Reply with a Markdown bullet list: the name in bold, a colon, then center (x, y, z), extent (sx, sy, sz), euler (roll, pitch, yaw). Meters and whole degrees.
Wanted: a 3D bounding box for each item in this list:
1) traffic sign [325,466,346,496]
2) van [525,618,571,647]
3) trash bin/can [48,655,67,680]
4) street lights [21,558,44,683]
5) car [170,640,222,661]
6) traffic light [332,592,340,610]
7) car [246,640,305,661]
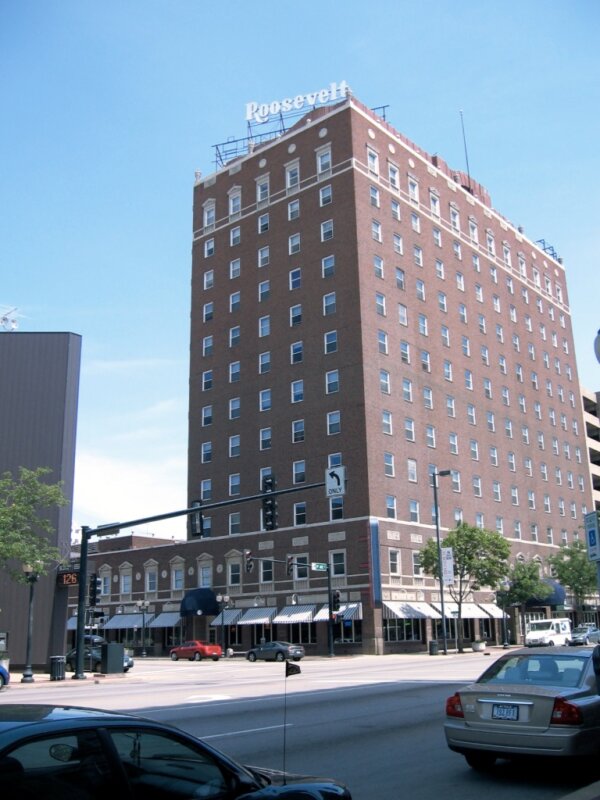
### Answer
- **traffic sign**: center (1.053, 2.521, 26.598), extent (0.602, 0.983, 0.930), euler (-2, -15, 0)
- **van**: center (15.960, 14.939, 54.345), extent (2.778, 1.511, 4.737), euler (-6, -15, 15)
- **trash bin/can**: center (-9.330, 10.331, 32.508), extent (0.586, 0.837, 0.420), euler (-6, -16, 13)
- **street lights**: center (-11.160, 9.291, 34.966), extent (0.844, 5.162, 0.811), euler (-3, -16, 3)
- **car**: center (-6.703, 16.263, 54.681), extent (1.470, 1.175, 4.090), euler (9, -18, -35)
- **traffic light**: center (2.116, 12.133, 50.813), extent (0.350, 1.100, 0.838), euler (-1, -15, -4)
- **car**: center (-1.491, 14.725, 49.335), extent (1.542, 1.071, 4.790), euler (6, -17, -29)
